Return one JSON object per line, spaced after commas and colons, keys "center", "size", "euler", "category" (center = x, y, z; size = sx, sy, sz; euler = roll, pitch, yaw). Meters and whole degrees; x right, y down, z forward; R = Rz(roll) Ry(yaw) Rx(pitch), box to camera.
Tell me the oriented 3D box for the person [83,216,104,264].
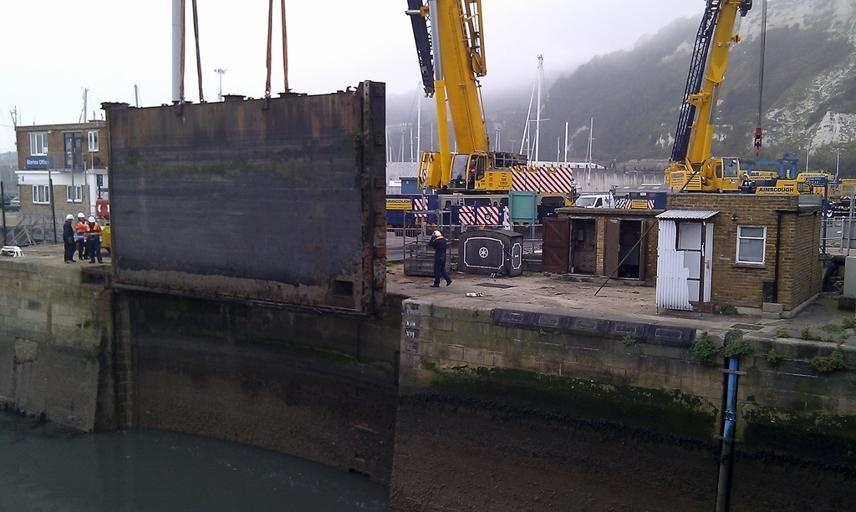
{"center": [-15.212, -0.686, 37.062], "size": [0.679, 2.040, 1.227], "euler": [-3, 6, -23], "category": "person"}
